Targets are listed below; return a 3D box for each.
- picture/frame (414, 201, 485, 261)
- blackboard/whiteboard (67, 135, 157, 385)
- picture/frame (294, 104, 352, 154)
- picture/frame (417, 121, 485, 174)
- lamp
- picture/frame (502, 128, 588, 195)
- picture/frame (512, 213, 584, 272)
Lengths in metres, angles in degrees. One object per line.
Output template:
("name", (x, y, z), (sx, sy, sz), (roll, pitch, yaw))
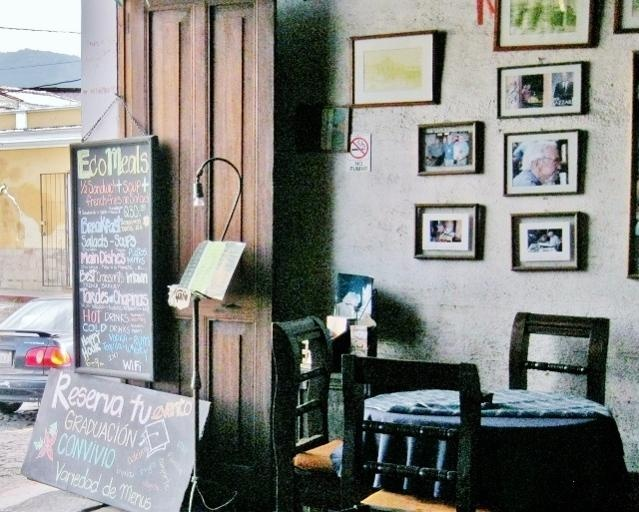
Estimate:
("picture/frame", (0.925, -0.177, 6.334), (0.401, 0.338, 0.046), (1, -1, 14))
("blackboard/whiteboard", (-1.475, -0.006, 6.399), (0.825, 1.688, 0.241), (7, 7, 30))
("picture/frame", (0.007, -0.919, 6.545), (0.377, 0.356, 0.089), (1, -2, 8))
("picture/frame", (0.930, -0.752, 6.328), (0.366, 0.298, 0.042), (0, -1, 12))
("lamp", (-0.705, 0.553, 6.094), (0.390, 2.403, 0.704), (3, 6, -8))
("picture/frame", (1.553, -0.639, 6.168), (0.441, 0.376, 0.046), (2, 0, 9))
("picture/frame", (1.572, -0.093, 6.167), (0.390, 0.336, 0.052), (0, 1, 11))
